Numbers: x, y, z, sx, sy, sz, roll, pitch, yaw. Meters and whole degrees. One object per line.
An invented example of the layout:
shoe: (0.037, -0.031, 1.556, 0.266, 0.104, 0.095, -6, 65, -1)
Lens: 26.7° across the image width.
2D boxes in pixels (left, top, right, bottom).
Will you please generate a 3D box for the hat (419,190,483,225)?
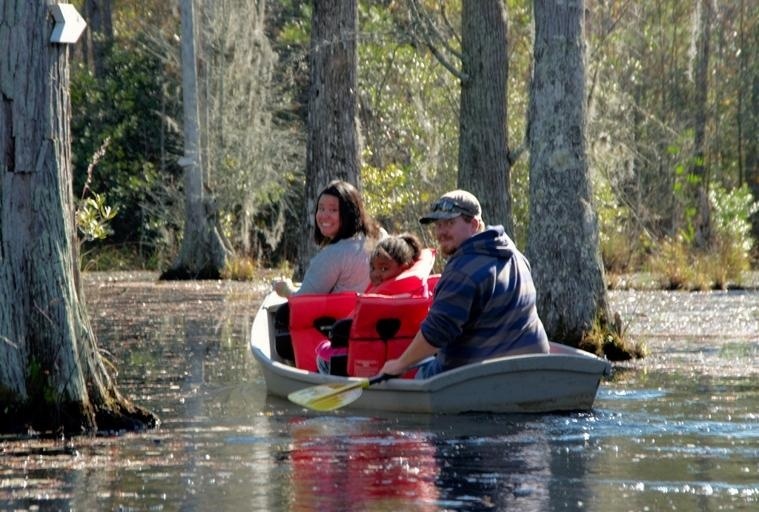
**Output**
hat: (0.957, -0.637, 21.321, 0.579, 0.386, 0.450, 2, -5, -17)

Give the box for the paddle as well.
paddle: (-0.556, 1.855, 21.548, 0.559, 0.270, 1.692, 19, 23, 41)
